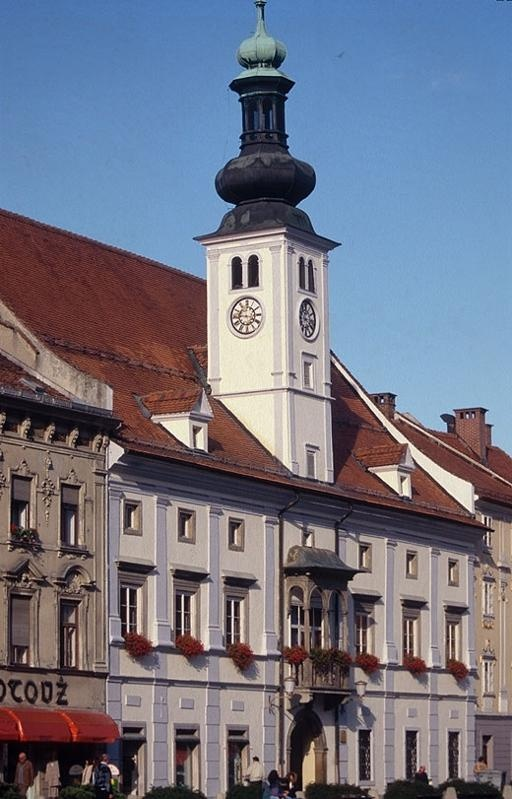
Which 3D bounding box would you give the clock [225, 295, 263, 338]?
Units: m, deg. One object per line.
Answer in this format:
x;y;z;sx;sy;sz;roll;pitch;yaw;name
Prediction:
-0.321;-2.282;84.590;0.940;1.078;0.056;-23;-29;28;clock

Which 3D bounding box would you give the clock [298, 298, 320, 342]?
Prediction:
1.719;-2.193;85.302;0.199;1.328;1.267;-4;-13;21;clock
